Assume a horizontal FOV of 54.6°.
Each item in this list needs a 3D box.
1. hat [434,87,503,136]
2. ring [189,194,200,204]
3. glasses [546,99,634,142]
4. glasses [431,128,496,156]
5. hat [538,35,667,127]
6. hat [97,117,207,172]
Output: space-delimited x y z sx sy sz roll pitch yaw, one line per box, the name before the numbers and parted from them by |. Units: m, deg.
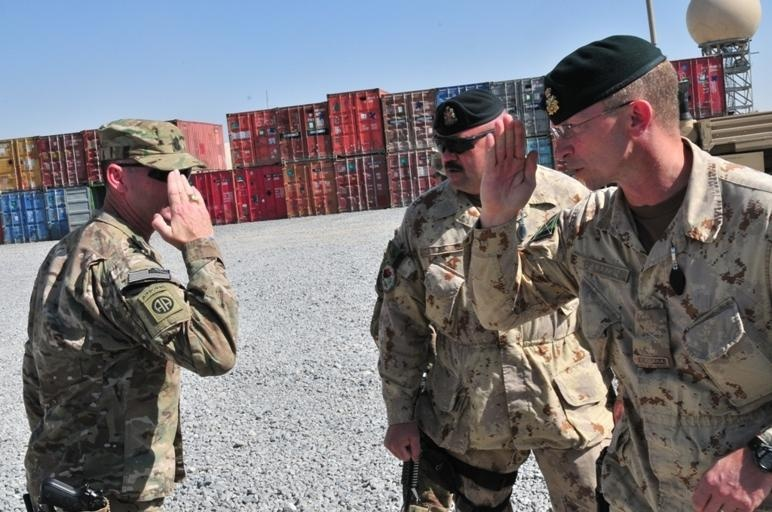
hat | 0.477 -0.836 4.222 0.302 0.186 0.429 11 30 44
ring | -0.958 -0.284 3.732 0.038 0.038 0.038 1 -8 0
glasses | 0.839 -0.569 3.128 0.187 0.051 0.180 -28 13 3
glasses | 0.391 -0.610 4.078 0.188 0.062 0.174 -21 18 -40
hat | 0.915 -0.836 3.254 0.568 0.225 0.428 -12 17 34
hat | -1.213 -0.584 3.885 0.559 0.243 0.401 6 10 6
